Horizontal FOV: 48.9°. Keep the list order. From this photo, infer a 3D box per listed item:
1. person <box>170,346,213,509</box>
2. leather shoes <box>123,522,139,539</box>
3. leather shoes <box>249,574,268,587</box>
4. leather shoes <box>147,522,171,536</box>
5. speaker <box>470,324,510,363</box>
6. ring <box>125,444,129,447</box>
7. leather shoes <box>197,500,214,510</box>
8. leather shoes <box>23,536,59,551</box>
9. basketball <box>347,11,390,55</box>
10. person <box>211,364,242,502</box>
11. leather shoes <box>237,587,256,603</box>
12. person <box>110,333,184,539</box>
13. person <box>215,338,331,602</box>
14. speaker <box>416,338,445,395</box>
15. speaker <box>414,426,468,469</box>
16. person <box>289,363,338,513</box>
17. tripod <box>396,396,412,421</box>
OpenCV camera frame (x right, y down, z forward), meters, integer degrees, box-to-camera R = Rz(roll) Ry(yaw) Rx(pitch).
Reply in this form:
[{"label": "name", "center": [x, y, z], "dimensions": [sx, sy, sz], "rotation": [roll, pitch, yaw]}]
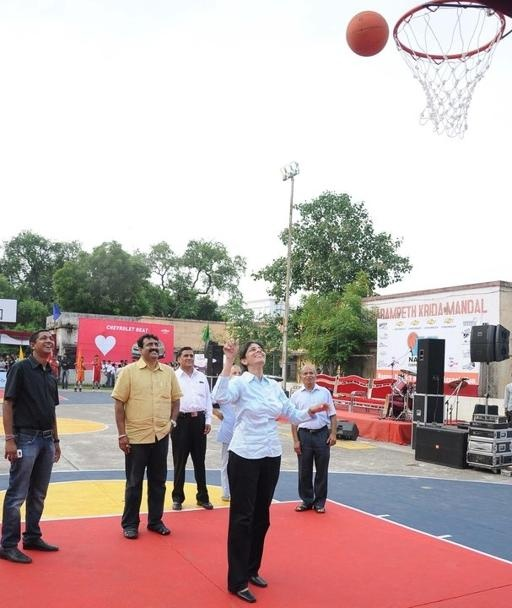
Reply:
[{"label": "person", "center": [-0.771, 1.427, 6.553], "dimensions": [0.637, 1.801, 0.538], "rotation": [8, -14, -41]}, {"label": "leather shoes", "center": [-1.134, 2.064, 5.112], "dimensions": [0.144, 0.075, 0.251], "rotation": [4, -3, -12]}, {"label": "leather shoes", "center": [0.017, 2.013, 4.105], "dimensions": [0.053, 0.062, 0.154], "rotation": [5, -16, -29]}, {"label": "leather shoes", "center": [-0.910, 2.099, 5.262], "dimensions": [0.083, 0.103, 0.238], "rotation": [11, -17, -41]}, {"label": "speaker", "center": [4.679, 0.788, 11.001], "dimensions": [0.604, 0.762, 0.717], "rotation": [7, -5, -14]}, {"label": "ring", "center": [-1.186, 1.298, 5.153], "dimensions": [0.018, 0.018, 0.018], "rotation": [0, -12, 0]}, {"label": "leather shoes", "center": [-0.582, 2.305, 6.464], "dimensions": [0.069, 0.086, 0.188], "rotation": [8, -18, -27]}, {"label": "leather shoes", "center": [-1.770, 1.978, 4.665], "dimensions": [0.317, 0.134, 0.107], "rotation": [3, -8, -4]}, {"label": "basketball", "center": [1.118, -2.728, 5.673], "dimensions": [0.409, 0.441, 0.186], "rotation": [3, -3, 19]}, {"label": "person", "center": [-0.367, 1.627, 7.001], "dimensions": [0.497, 1.754, 0.474], "rotation": [3, -1, -37]}, {"label": "leather shoes", "center": [-0.064, 1.952, 3.781], "dimensions": [0.116, 0.042, 0.127], "rotation": [5, -3, -15]}, {"label": "person", "center": [-0.988, 1.211, 5.322], "dimensions": [0.641, 1.832, 0.439], "rotation": [5, -12, -35]}, {"label": "person", "center": [-0.075, 1.171, 4.177], "dimensions": [0.496, 1.771, 0.813], "rotation": [3, -3, 10]}, {"label": "speaker", "center": [4.016, 1.436, 13.044], "dimensions": [0.506, 1.356, 0.574], "rotation": [1, -2, -34]}, {"label": "speaker", "center": [3.695, 2.838, 11.201], "dimensions": [0.675, 0.766, 1.154], "rotation": [2, -3, -34]}, {"label": "person", "center": [0.650, 1.606, 6.780], "dimensions": [0.656, 1.653, 0.454], "rotation": [1, -6, -17]}, {"label": "tripod", "center": [4.090, 2.862, 15.383], "dimensions": [0.528, 0.639, 0.544], "rotation": [2, -1, 10]}]
